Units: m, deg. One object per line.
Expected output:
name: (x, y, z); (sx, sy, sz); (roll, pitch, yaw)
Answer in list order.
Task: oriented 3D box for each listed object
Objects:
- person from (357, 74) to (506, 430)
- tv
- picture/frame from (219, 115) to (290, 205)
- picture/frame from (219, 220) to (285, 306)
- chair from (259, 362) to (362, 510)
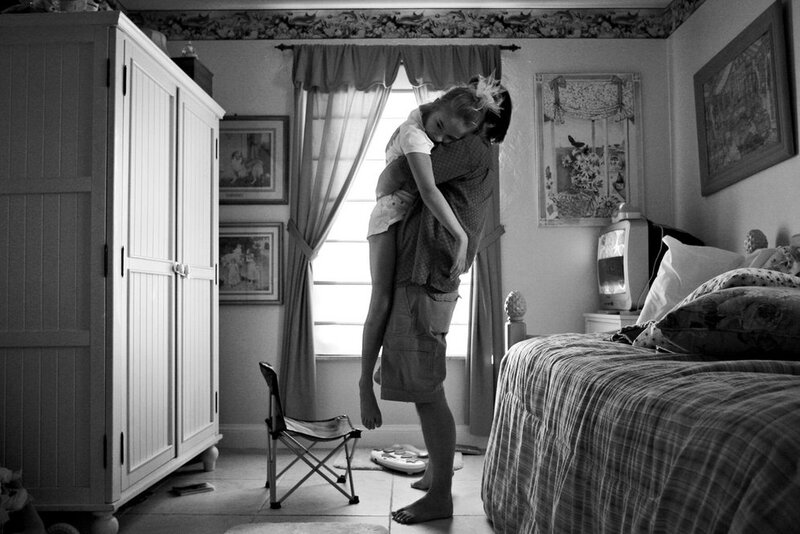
person: (0.174, -0.062, 3.318); (0.792, 1.775, 0.297); (-1, 2, -4)
tv: (1.913, 0.014, 5.019); (0.661, 0.681, 0.641); (0, -1, 2)
picture/frame: (-1.191, -0.852, 5.303); (0.702, 0.723, 0.050); (0, -2, 3)
picture/frame: (-1.202, -0.007, 5.255); (0.666, 0.687, 0.050); (0, 0, 4)
chair: (-0.553, 1.015, 4.024); (0.652, 0.771, 0.593); (4, -4, -27)
